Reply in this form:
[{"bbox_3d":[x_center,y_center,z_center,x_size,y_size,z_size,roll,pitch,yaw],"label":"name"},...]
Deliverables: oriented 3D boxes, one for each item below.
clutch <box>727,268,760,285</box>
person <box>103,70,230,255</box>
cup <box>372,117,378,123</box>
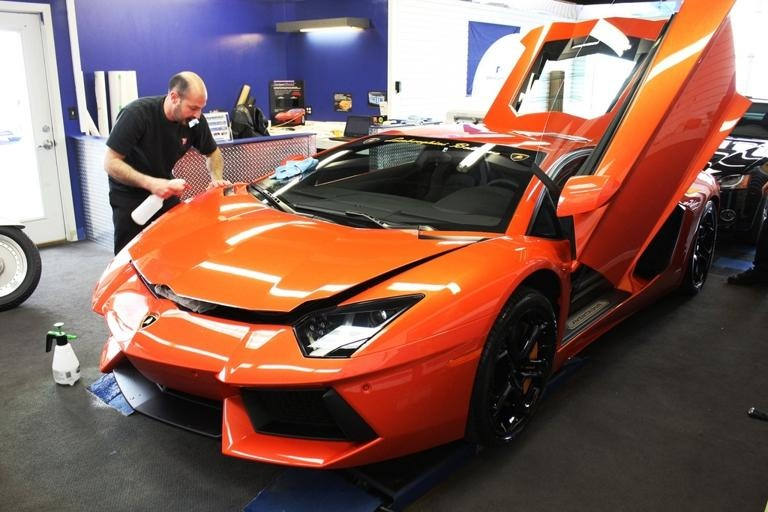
[{"bbox_3d":[3.234,0.198,4.240,0.368,0.140,0.107,-3,61,4],"label":"clutch"},{"bbox_3d":[-1.636,-0.562,3.607,1.033,1.582,0.738,3,23,-8],"label":"person"},{"bbox_3d":[-0.137,-2.187,7.396,0.100,0.084,0.167,3,13,3],"label":"cup"}]
